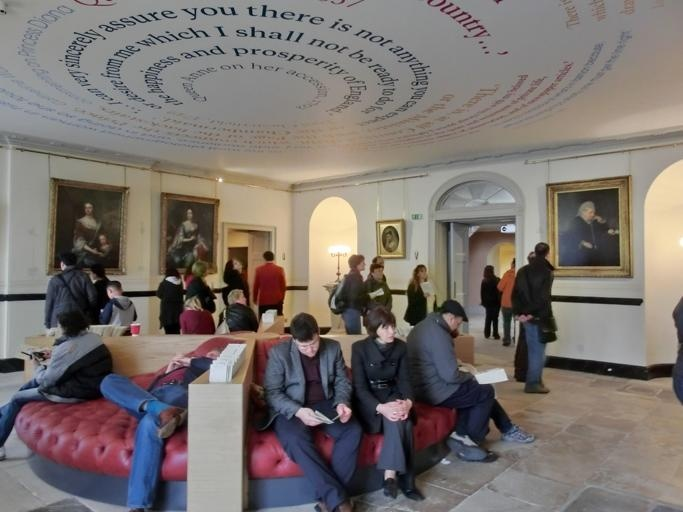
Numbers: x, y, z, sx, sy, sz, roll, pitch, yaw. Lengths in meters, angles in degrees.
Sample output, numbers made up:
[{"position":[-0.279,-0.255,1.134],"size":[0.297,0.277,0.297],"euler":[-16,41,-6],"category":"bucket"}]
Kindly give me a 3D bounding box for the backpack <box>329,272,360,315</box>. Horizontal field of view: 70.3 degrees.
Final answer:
[{"position":[0.117,0.548,7.831],"size":[0.397,0.729,0.537],"euler":[-3,11,1],"category":"backpack"}]

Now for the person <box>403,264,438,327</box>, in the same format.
[{"position":[1.510,0.896,9.015],"size":[0.585,1.514,0.516],"euler":[-11,18,-16],"category":"person"}]

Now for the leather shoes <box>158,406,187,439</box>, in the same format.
[{"position":[-1.357,1.319,3.861],"size":[0.100,0.124,0.282],"euler":[-8,5,-6],"category":"leather shoes"}]

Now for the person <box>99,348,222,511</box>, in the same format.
[{"position":[-1.532,1.352,4.350],"size":[0.694,0.605,1.435],"euler":[4,25,14],"category":"person"}]

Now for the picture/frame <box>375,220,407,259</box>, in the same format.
[{"position":[1.042,-0.353,10.301],"size":[0.150,0.820,0.727],"euler":[-1,3,-44],"category":"picture/frame"}]

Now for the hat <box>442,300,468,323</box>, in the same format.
[{"position":[1.186,0.600,4.963],"size":[0.292,0.178,0.222],"euler":[11,4,-16],"category":"hat"}]

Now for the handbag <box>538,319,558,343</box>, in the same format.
[{"position":[2.962,1.059,6.856],"size":[0.329,0.351,0.153],"euler":[-1,2,-37],"category":"handbag"}]

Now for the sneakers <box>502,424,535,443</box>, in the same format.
[{"position":[1.899,1.914,5.255],"size":[0.348,0.179,0.154],"euler":[-1,-3,12],"category":"sneakers"}]

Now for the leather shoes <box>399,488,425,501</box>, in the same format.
[{"position":[0.603,2.002,4.133],"size":[0.087,0.070,0.169],"euler":[6,-12,-26],"category":"leather shoes"}]

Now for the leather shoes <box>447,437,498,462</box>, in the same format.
[{"position":[1.289,1.896,4.811],"size":[0.471,0.214,0.177],"euler":[-4,-6,37],"category":"leather shoes"}]

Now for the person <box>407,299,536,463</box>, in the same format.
[{"position":[1.363,1.232,5.033],"size":[1.219,1.555,0.657],"euler":[-3,4,9],"category":"person"}]

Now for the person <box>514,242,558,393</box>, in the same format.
[{"position":[2.855,0.871,7.106],"size":[0.603,2.069,0.622],"euler":[-6,9,-26],"category":"person"}]
